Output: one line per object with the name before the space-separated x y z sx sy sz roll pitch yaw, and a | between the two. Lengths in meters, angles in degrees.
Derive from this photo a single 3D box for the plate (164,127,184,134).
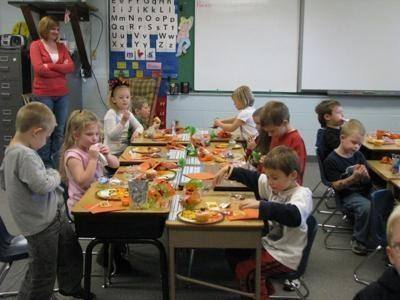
plate | -0.336 -0.237 4.361 0.172 0.054 0.103 -1 2 10

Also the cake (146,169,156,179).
cake | -0.376 0.186 2.659 0.062 0.048 0.063 1 -1 3

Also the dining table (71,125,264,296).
dining table | -0.245 0.536 2.473 1.223 1.286 1.092 -3 13 -8

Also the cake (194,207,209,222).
cake | 0.013 0.391 2.037 0.085 0.040 0.099 5 14 22

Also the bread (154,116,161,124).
bread | -0.546 -0.368 4.404 0.071 0.100 0.224 -3 13 -8

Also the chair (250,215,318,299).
chair | 0.495 0.711 2.549 0.546 0.690 0.481 1 2 2

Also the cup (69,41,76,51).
cup | -2.243 -1.815 6.050 0.127 0.179 0.145 -1 7 -16

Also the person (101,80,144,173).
person | -0.920 -0.193 4.190 0.448 1.223 0.435 -10 33 -31

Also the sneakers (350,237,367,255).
sneakers | 1.549 0.961 3.410 0.077 0.073 0.170 1 -1 -6

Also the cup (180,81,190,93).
cup | -0.270 -1.131 6.264 0.181 0.264 0.168 0 4 0
